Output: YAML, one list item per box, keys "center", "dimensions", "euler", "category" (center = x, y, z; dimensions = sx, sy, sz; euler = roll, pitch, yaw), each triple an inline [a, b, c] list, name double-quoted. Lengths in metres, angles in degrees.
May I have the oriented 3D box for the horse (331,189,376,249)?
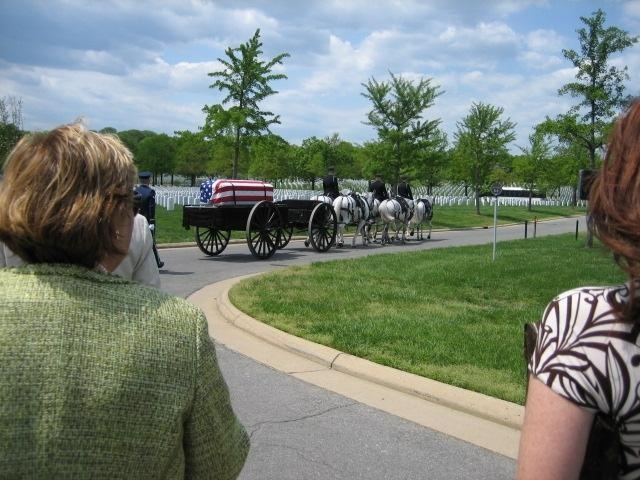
- center: [1.294, -0.700, 18.564]
  dimensions: [0.583, 1.535, 1.928]
  euler: [5, -1, -43]
  category: "horse"

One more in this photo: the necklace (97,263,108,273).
- center: [-0.761, 0.095, 2.007]
  dimensions: [0.018, 0.020, 0.019]
  euler: [22, 39, -5]
  category: "necklace"

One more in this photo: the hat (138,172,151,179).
- center: [-3.842, -1.400, 12.467]
  dimensions: [0.379, 0.110, 0.414]
  euler: [1, 9, -7]
  category: "hat"
